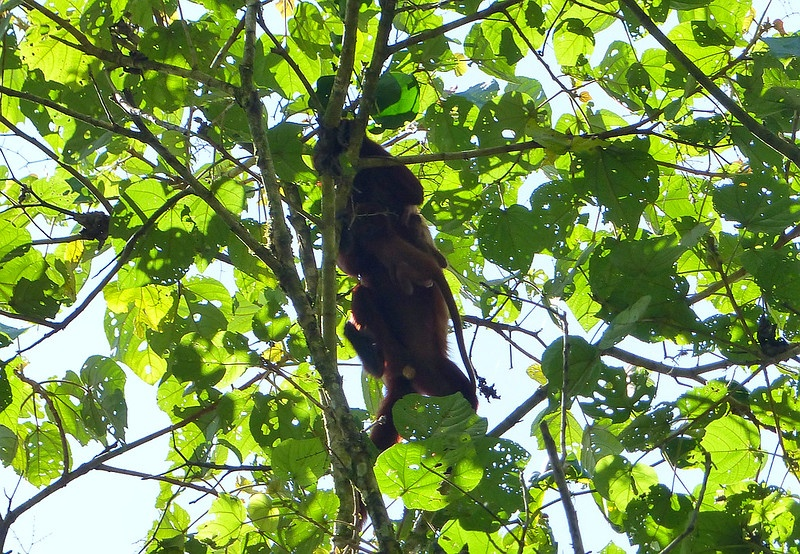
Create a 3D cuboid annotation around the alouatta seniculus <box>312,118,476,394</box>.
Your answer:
[{"bbox_3d":[0.198,0.006,4.353,0.410,0.372,1.224,-27,-45,-1],"label":"alouatta seniculus"}]

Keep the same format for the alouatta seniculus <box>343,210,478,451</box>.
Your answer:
[{"bbox_3d":[0.044,0.404,4.123,0.451,0.526,1.383,-8,-76,3],"label":"alouatta seniculus"}]
